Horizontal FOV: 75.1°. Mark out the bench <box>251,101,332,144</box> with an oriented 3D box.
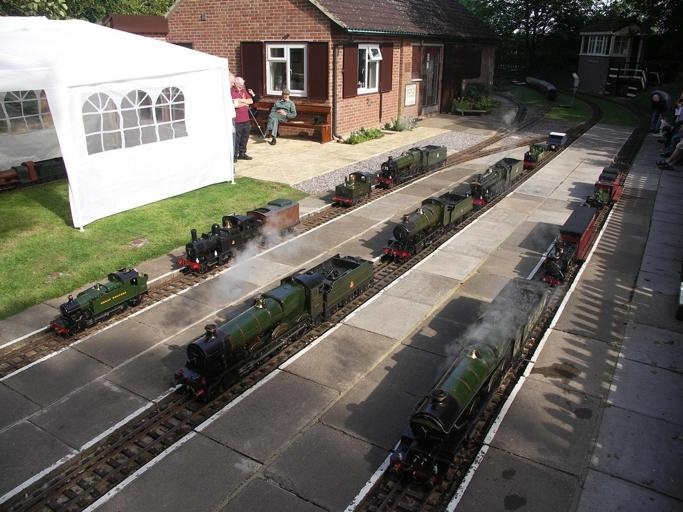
[{"bbox_3d":[-3.121,-8.108,26.571,5.266,1.852,1.040,13,34,24],"label":"bench"}]
